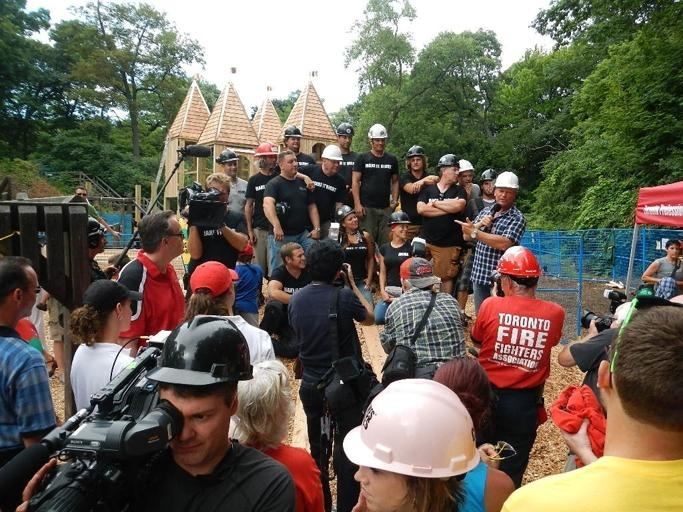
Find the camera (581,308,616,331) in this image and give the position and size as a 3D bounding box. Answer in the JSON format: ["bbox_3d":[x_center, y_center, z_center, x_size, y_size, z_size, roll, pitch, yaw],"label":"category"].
[{"bbox_3d":[1.991,0.493,4.465,0.105,0.136,0.238,25,-2,-7],"label":"camera"}]

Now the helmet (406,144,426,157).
[{"bbox_3d":[1.292,-1.770,9.876,0.319,0.239,0.441,1,11,21],"label":"helmet"}]

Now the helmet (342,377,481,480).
[{"bbox_3d":[0.400,0.804,2.984,0.550,0.306,0.476,11,6,10],"label":"helmet"}]

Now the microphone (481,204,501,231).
[{"bbox_3d":[2.004,-0.508,7.671,0.123,0.474,0.144,26,-25,11],"label":"microphone"}]

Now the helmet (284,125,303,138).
[{"bbox_3d":[-0.878,-2.171,9.882,0.309,0.214,0.385,-5,4,-31],"label":"helmet"}]

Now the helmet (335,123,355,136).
[{"bbox_3d":[0.066,-2.232,10.280,0.274,0.186,0.340,-4,19,-10],"label":"helmet"}]

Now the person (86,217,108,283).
[{"bbox_3d":[-2.897,-0.103,6.868,0.226,0.707,1.405,3,2,-23],"label":"person"}]

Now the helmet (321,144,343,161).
[{"bbox_3d":[-0.194,-1.715,9.582,0.324,0.215,0.390,-3,12,-32],"label":"helmet"}]

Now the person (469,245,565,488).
[{"bbox_3d":[1.517,1.204,5.246,0.755,2.592,0.769,9,18,20],"label":"person"}]

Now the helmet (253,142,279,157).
[{"bbox_3d":[-1.364,-1.823,9.975,0.417,0.227,0.370,-3,7,20],"label":"helmet"}]

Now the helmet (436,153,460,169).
[{"bbox_3d":[1.730,-1.485,9.034,0.285,0.229,0.403,8,13,36],"label":"helmet"}]

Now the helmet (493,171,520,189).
[{"bbox_3d":[2.208,-1.007,7.649,0.276,0.190,0.434,5,2,19],"label":"helmet"}]

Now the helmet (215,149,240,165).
[{"bbox_3d":[-2.062,-1.726,10.272,0.420,0.321,0.577,-4,4,-31],"label":"helmet"}]

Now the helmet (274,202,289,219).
[{"bbox_3d":[-0.891,-0.724,8.801,0.155,0.212,0.213,16,-35,16],"label":"helmet"}]

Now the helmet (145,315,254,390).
[{"bbox_3d":[-0.695,0.483,2.907,0.322,0.239,0.429,1,-7,19],"label":"helmet"}]

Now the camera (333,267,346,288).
[{"bbox_3d":[-0.012,0.234,5.765,0.118,0.087,0.164,-3,-17,-1],"label":"camera"}]

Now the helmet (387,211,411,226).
[{"bbox_3d":[0.865,-0.567,8.595,0.268,0.214,0.250,4,2,0],"label":"helmet"}]

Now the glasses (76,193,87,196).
[{"bbox_3d":[-5.429,-1.288,11.975,0.166,0.053,0.166,-3,1,17],"label":"glasses"}]

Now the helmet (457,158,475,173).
[{"bbox_3d":[2.253,-1.661,10.410,0.266,0.210,0.395,-2,1,14],"label":"helmet"}]

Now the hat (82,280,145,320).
[{"bbox_3d":[-1.741,0.311,4.410,0.357,0.218,0.244,-20,21,-39],"label":"hat"}]

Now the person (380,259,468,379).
[{"bbox_3d":[0.734,0.540,5.036,0.728,0.745,0.794,4,2,4],"label":"person"}]

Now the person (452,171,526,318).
[{"bbox_3d":[2.052,0.091,7.837,0.798,2.496,0.802,12,22,36],"label":"person"}]

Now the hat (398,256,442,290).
[{"bbox_3d":[0.702,0.155,5.409,0.231,0.183,0.363,-3,4,-9],"label":"hat"}]

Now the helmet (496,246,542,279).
[{"bbox_3d":[1.564,0.051,5.092,0.253,0.183,0.321,1,2,4],"label":"helmet"}]

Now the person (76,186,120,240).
[{"bbox_3d":[-6.163,-1.023,14.218,0.935,0.712,1.770,-9,-7,0],"label":"person"}]

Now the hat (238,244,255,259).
[{"bbox_3d":[-1.203,-0.054,7.221,0.205,0.158,0.346,12,3,9],"label":"hat"}]

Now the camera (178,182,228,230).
[{"bbox_3d":[-1.517,-0.554,6.320,0.444,0.478,0.585,3,2,-24],"label":"camera"}]

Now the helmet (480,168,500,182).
[{"bbox_3d":[2.684,-1.453,10.404,0.330,0.245,0.452,1,1,10],"label":"helmet"}]

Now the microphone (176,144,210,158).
[{"bbox_3d":[-1.752,-1.269,6.888,0.314,0.162,0.432,3,2,-28],"label":"microphone"}]
